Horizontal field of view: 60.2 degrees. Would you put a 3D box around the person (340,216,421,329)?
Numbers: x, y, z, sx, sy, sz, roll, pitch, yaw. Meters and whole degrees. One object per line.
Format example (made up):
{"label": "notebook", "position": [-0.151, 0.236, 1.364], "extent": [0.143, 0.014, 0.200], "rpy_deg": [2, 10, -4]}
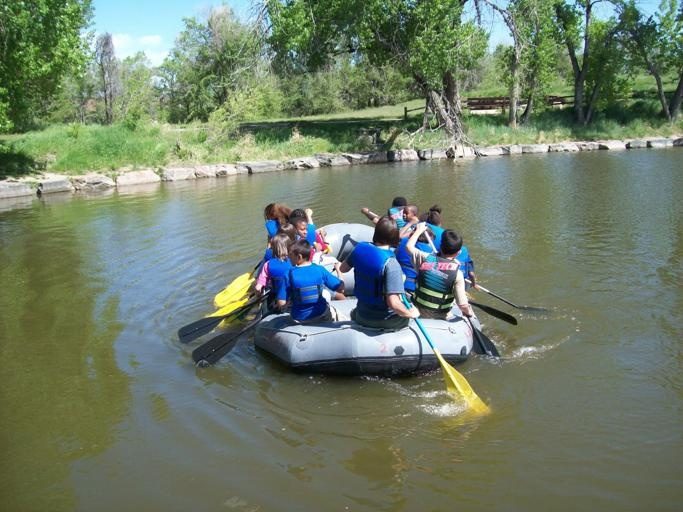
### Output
{"label": "person", "position": [0.541, 0.288, 7.990], "extent": [0.661, 1.641, 1.084], "rpy_deg": [-8, 11, -29]}

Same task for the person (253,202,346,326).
{"label": "person", "position": [-0.460, 0.193, 8.676], "extent": [1.142, 1.727, 1.136], "rpy_deg": [-9, 45, -4]}

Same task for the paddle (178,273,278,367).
{"label": "paddle", "position": [-1.525, 1.113, 9.188], "extent": [1.954, 0.176, 0.729], "rpy_deg": [-32, 42, -19]}

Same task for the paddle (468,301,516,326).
{"label": "paddle", "position": [2.453, 0.957, 9.619], "extent": [0.073, 0.103, 0.945], "rpy_deg": [3, 18, -32]}

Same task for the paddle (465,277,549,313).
{"label": "paddle", "position": [2.881, 0.713, 10.257], "extent": [1.027, 0.112, 0.122], "rpy_deg": [34, 29, 34]}

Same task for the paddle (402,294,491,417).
{"label": "paddle", "position": [1.417, 1.447, 8.229], "extent": [0.224, 1.684, 0.177], "rpy_deg": [-24, -18, -19]}
